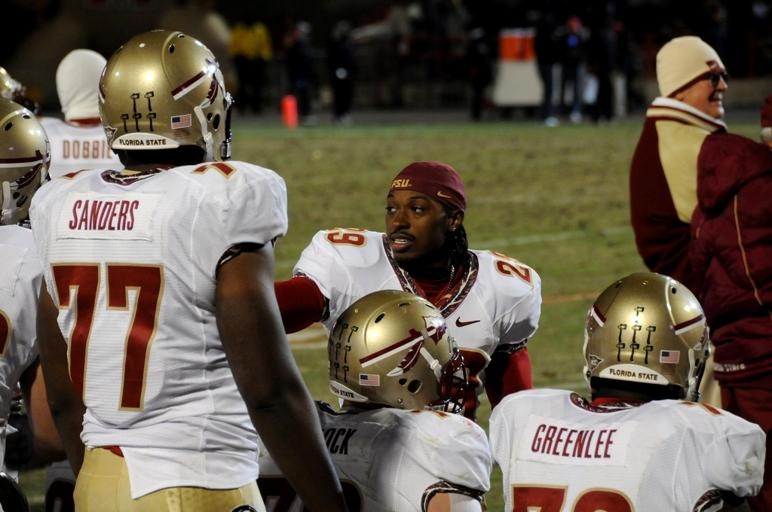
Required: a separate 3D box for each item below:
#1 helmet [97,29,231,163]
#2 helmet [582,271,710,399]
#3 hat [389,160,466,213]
[{"bbox_3d":[-0.814,-0.662,5.360,0.455,0.491,0.576,5,17,22],"label":"helmet"},{"bbox_3d":[1.151,0.361,5.817,0.507,0.508,0.596,3,0,24],"label":"helmet"},{"bbox_3d":[0.213,-0.385,6.391,0.290,0.162,0.286,12,-8,30],"label":"hat"}]
